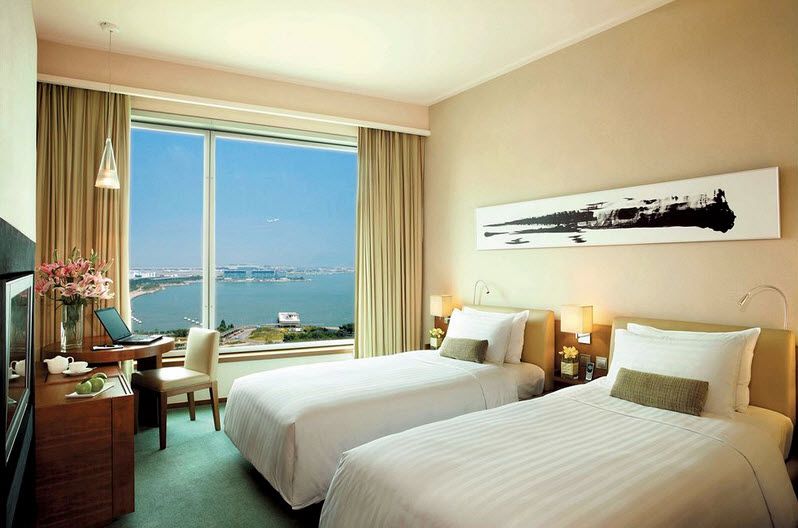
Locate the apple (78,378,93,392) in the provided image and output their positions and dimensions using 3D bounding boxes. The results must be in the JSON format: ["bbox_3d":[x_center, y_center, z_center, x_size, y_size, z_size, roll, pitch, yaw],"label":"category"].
[{"bbox_3d":[-2.457,0.947,3.885,0.086,0.080,0.087,-2,-1,23],"label":"apple"}]

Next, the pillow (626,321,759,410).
[{"bbox_3d":[2.384,0.841,3.959,0.167,0.424,0.655,19,-7,-20],"label":"pillow"}]

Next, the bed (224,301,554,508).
[{"bbox_3d":[-0.004,1.152,5.185,3.081,1.262,1.913,-2,-1,-33],"label":"bed"}]

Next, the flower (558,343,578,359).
[{"bbox_3d":[1.766,0.900,5.130,0.154,0.114,0.156,0,-1,39],"label":"flower"}]

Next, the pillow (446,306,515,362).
[{"bbox_3d":[0.901,0.695,5.263,0.599,0.518,0.177,0,-32,43],"label":"pillow"}]

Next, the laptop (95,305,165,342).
[{"bbox_3d":[-2.830,0.649,5.168,0.458,0.288,0.440,1,2,-10],"label":"laptop"}]

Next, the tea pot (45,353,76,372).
[{"bbox_3d":[-3.017,0.886,4.465,0.158,0.159,0.238,-2,-9,32],"label":"tea pot"}]

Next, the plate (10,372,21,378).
[{"bbox_3d":[-2.310,0.669,2.976,0.060,0.015,0.057,0,-2,4],"label":"plate"}]

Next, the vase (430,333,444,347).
[{"bbox_3d":[0.479,0.970,6.379,0.155,0.207,0.211,-1,3,-27],"label":"vase"}]

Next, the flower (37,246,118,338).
[{"bbox_3d":[-3.424,0.314,5.378,0.929,1.019,0.796,-2,0,-27],"label":"flower"}]

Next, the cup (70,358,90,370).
[{"bbox_3d":[-2.824,0.882,4.357,0.118,0.052,0.109,-1,-1,0],"label":"cup"}]

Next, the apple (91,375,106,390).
[{"bbox_3d":[-2.379,0.934,3.922,0.089,0.047,0.088,-4,40,-37],"label":"apple"}]
